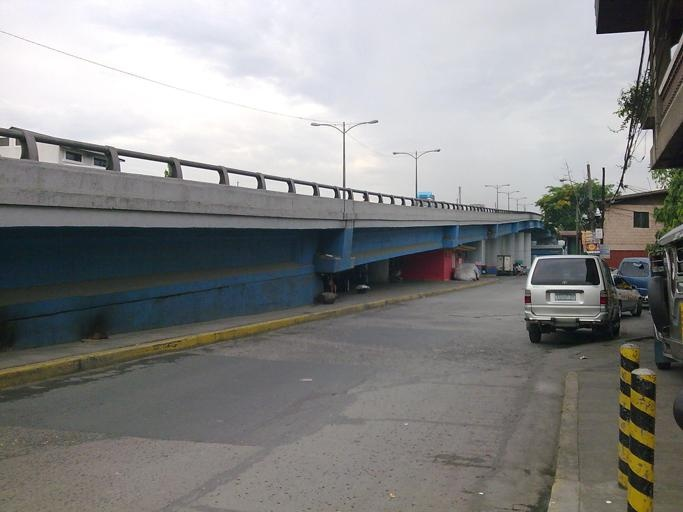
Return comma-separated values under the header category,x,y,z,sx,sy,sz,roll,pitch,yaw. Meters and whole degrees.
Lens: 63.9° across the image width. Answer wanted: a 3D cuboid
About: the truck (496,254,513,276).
category,x,y,z,sx,sy,sz,roll,pitch,yaw
truck,18.388,1.067,61.928,2.439,2.523,1.388,1,-5,13
